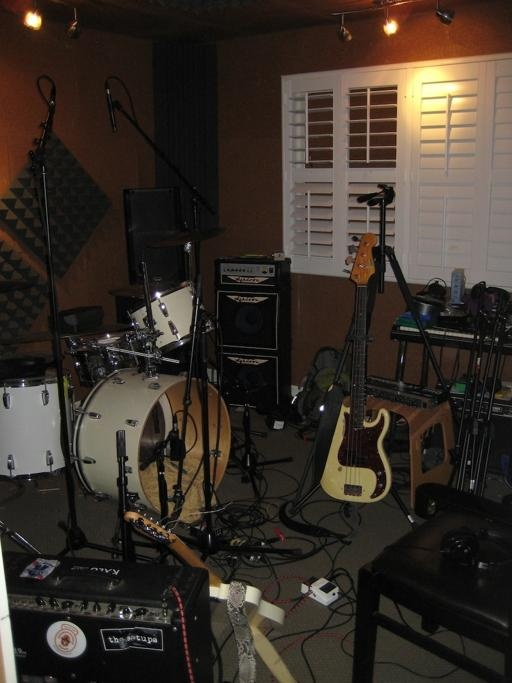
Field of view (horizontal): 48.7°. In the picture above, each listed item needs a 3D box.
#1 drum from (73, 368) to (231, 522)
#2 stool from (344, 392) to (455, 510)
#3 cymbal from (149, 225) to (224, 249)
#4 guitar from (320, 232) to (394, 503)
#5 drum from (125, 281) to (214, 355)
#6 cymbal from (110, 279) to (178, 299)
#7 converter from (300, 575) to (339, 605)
[{"bbox_3d":[-0.484,0.478,2.604,0.438,0.647,0.640,11,19,37],"label":"drum"},{"bbox_3d":[0.721,0.485,2.994,0.349,0.437,0.476,-9,12,-10],"label":"stool"},{"bbox_3d":[-0.458,-0.673,3.578,0.451,0.095,0.490,5,12,21],"label":"cymbal"},{"bbox_3d":[0.471,0.116,2.659,0.319,1.216,0.366,0,12,5],"label":"guitar"},{"bbox_3d":[-0.587,-0.153,2.847,0.435,0.315,0.424,4,15,-1],"label":"drum"},{"bbox_3d":[-0.656,-0.313,3.337,0.287,0.068,0.271,-1,1,-6],"label":"cymbal"},{"bbox_3d":[0.261,0.981,2.251,0.143,0.048,0.103,10,16,43],"label":"converter"}]
